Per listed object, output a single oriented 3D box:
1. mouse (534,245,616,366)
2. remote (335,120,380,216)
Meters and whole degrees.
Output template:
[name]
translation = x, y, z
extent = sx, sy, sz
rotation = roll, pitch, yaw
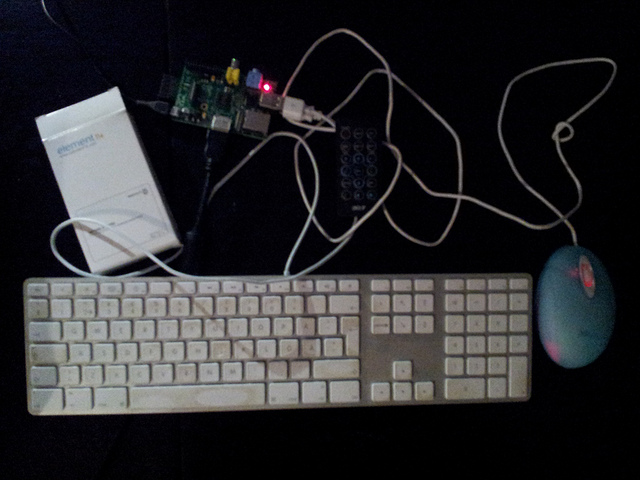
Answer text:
[mouse]
translation = 0.646, 0.167, 1.689
extent = 0.200, 0.089, 0.322
rotation = 7, 77, -11
[remote]
translation = 0.092, -0.179, 1.655
extent = 0.109, 0.071, 0.222
rotation = 0, 77, 1
